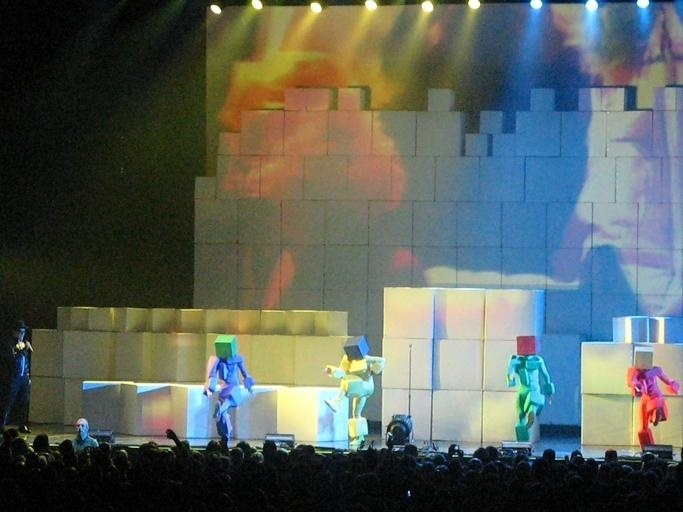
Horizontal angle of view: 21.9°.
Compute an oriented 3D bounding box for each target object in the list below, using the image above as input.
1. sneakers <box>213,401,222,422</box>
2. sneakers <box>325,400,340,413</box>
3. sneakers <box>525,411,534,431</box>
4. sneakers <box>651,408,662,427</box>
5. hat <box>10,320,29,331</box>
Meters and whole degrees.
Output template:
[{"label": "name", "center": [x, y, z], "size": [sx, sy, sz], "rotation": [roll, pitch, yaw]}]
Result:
[{"label": "sneakers", "center": [-1.856, 2.353, 26.570], "size": [0.089, 0.284, 0.188], "rotation": [6, 1, -3]}, {"label": "sneakers", "center": [-0.149, 2.315, 27.019], "size": [0.224, 0.210, 0.410], "rotation": [0, -1, -1]}, {"label": "sneakers", "center": [2.884, 2.535, 27.059], "size": [0.106, 0.277, 0.120], "rotation": [7, 5, 13]}, {"label": "sneakers", "center": [4.780, 2.467, 26.785], "size": [0.155, 0.254, 0.061], "rotation": [10, 11, 5]}, {"label": "hat", "center": [-5.134, 1.153, 28.345], "size": [0.339, 0.182, 0.241], "rotation": [-3, 2, -11]}]
